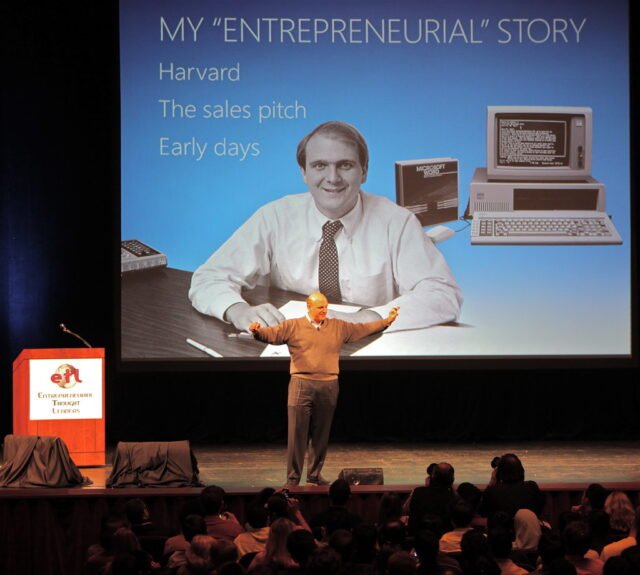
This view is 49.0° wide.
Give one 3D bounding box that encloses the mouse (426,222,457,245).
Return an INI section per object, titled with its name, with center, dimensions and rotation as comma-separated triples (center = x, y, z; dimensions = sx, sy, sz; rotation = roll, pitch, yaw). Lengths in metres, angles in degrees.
[mouse]
center = 1.113, -0.494, 6.427
dimensions = 0.232, 0.067, 0.157
rotation = -22, 33, -32

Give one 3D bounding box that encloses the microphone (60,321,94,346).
[microphone]
center = -2.299, 0.432, 6.605
dimensions = 0.309, 0.052, 0.104
rotation = 37, -18, -18
